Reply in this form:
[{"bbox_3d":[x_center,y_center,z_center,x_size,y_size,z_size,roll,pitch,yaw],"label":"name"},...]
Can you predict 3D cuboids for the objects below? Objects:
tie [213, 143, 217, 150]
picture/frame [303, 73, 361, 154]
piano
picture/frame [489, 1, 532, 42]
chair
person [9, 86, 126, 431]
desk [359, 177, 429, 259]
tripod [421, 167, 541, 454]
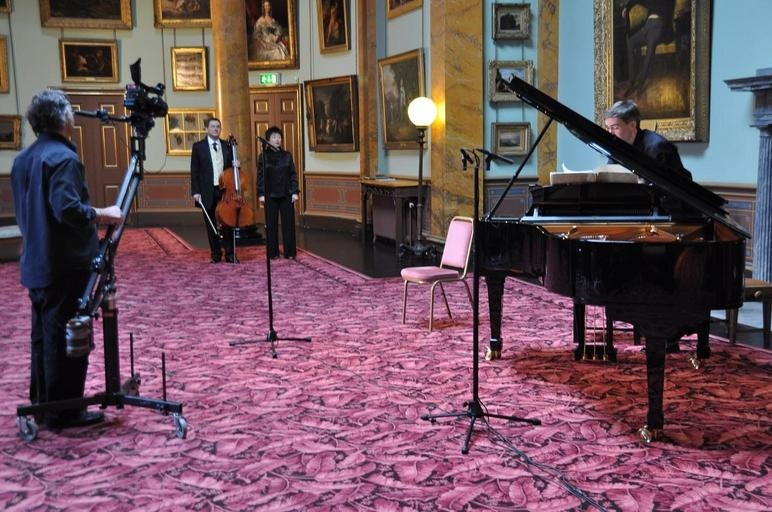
[{"bbox_3d":[-2.418,-1.552,10.097,0.083,0.100,0.024,-1,5,-9],"label":"tie"},{"bbox_3d":[-1.040,-2.822,14.214,0.380,1.521,1.588,-9,17,-32],"label":"picture/frame"},{"bbox_3d":[2.195,-0.193,6.471,2.657,3.261,2.279,-2,6,-9],"label":"piano"},{"bbox_3d":[1.795,-3.419,10.335,0.538,0.527,0.060,0,4,-7],"label":"picture/frame"},{"bbox_3d":[0.547,0.150,7.259,0.663,1.111,0.632,-2,8,-18],"label":"chair"},{"bbox_3d":[-2.363,0.054,5.192,0.651,2.454,0.623,-8,15,-26],"label":"person"},{"bbox_3d":[0.182,-0.629,11.705,0.449,0.863,1.282,-4,9,-21],"label":"desk"},{"bbox_3d":[0.671,0.223,5.533,0.861,1.976,1.538,-2,14,-5],"label":"tripod"}]
